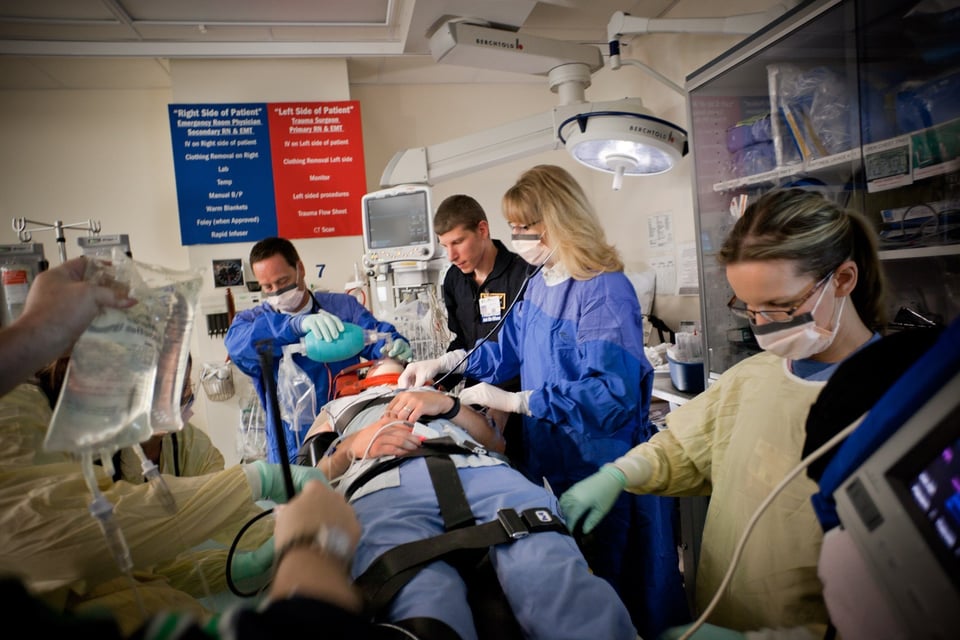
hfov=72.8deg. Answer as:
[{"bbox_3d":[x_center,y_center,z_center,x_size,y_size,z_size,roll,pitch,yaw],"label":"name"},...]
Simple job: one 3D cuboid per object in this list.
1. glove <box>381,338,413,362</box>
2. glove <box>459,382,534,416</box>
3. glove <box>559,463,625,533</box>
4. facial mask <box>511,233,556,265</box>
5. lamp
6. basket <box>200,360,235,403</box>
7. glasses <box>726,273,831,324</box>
[{"bbox_3d":[-0.426,0.159,3.323,0.173,0.112,0.131,3,-20,3],"label":"glove"},{"bbox_3d":[0.075,0.335,2.723,0.206,0.060,0.152,5,-11,21],"label":"glove"},{"bbox_3d":[0.424,0.620,2.305,0.283,0.163,0.084,-45,-23,16],"label":"glove"},{"bbox_3d":[0.227,-0.303,2.784,0.143,0.082,0.133,-34,27,-9],"label":"facial mask"},{"bbox_3d":[0.306,-1.045,3.322,1.394,0.855,0.638,0,-6,21],"label":"lamp"},{"bbox_3d":[-1.698,0.395,4.230,0.215,0.240,0.244,-1,-9,-3],"label":"basket"},{"bbox_3d":[0.977,-0.040,2.071,0.181,0.048,0.172,-35,15,-9],"label":"glasses"}]
